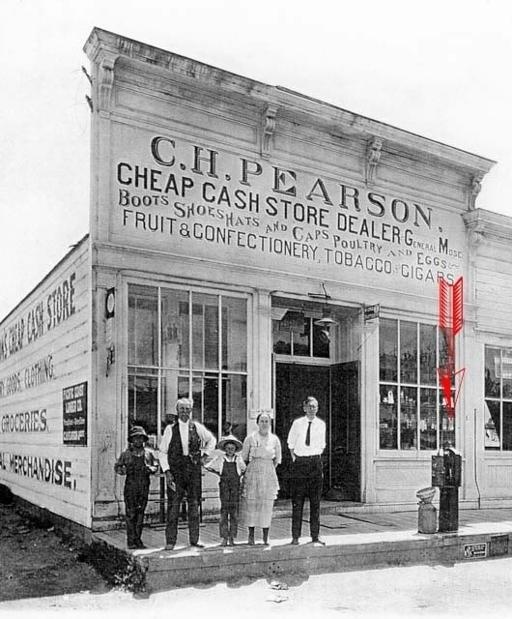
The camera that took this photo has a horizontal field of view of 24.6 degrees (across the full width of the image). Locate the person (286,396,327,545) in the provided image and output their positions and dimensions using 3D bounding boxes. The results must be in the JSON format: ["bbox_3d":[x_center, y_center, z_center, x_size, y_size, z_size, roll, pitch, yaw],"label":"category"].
[{"bbox_3d":[0.658,2.077,15.208,0.464,1.901,0.533,0,-10,1],"label":"person"}]

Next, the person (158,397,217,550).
[{"bbox_3d":[-0.872,2.047,14.682,0.679,1.902,0.583,2,-10,-14],"label":"person"}]

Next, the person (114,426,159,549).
[{"bbox_3d":[-1.507,2.209,14.721,0.456,1.578,0.617,-4,-11,22],"label":"person"}]

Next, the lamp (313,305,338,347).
[{"bbox_3d":[1.112,0.196,18.410,0.257,0.527,0.313,4,16,15],"label":"lamp"}]
